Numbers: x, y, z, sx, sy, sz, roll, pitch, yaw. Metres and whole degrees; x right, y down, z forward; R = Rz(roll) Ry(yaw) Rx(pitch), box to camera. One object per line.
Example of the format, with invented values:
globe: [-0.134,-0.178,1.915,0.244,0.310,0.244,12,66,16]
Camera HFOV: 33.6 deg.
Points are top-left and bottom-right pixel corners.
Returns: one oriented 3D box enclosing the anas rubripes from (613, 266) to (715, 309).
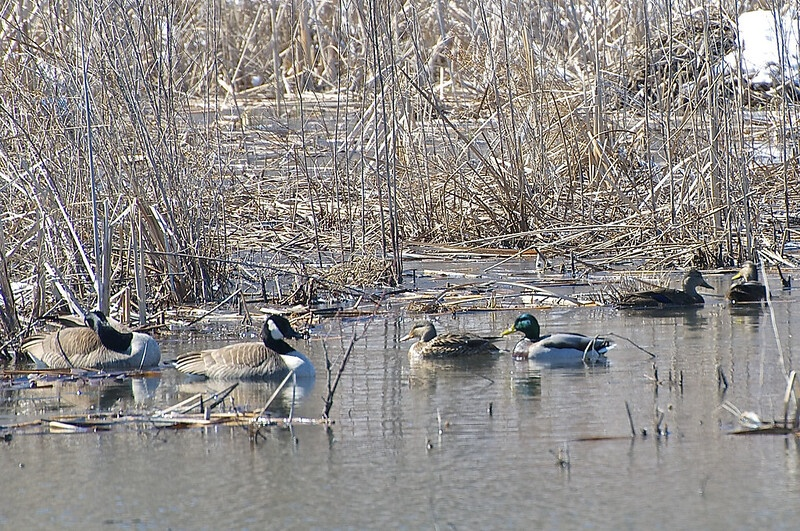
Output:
anas rubripes: [3.118,0.350,15.433,1.265,0.522,0.351,5,-9,-29]

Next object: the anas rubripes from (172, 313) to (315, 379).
anas rubripes: [-1.476,0.850,12.233,1.262,0.700,0.590,-2,10,-10]

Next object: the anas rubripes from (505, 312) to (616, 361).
anas rubripes: [1.515,0.726,12.699,1.103,0.540,0.452,-2,4,-10]

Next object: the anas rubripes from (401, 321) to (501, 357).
anas rubripes: [0.567,0.766,12.878,1.117,0.465,0.416,-3,-6,12]
